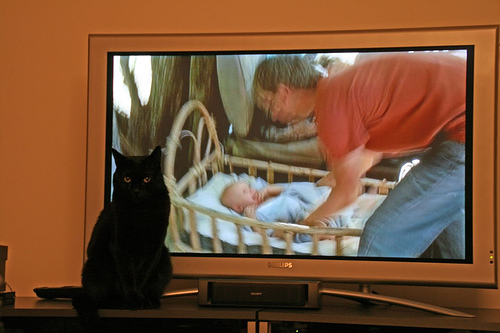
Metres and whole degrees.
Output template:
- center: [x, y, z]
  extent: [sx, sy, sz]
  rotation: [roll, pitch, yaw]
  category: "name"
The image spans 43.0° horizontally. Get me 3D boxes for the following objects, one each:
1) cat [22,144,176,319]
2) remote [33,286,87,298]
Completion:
- center: [-0.714, 0.367, 3.352]
  extent: [0.745, 0.727, 0.521]
  rotation: [-6, -12, 2]
  category: "cat"
- center: [-0.991, 0.662, 3.332]
  extent: [0.187, 0.035, 0.118]
  rotation: [2, -10, 5]
  category: "remote"
